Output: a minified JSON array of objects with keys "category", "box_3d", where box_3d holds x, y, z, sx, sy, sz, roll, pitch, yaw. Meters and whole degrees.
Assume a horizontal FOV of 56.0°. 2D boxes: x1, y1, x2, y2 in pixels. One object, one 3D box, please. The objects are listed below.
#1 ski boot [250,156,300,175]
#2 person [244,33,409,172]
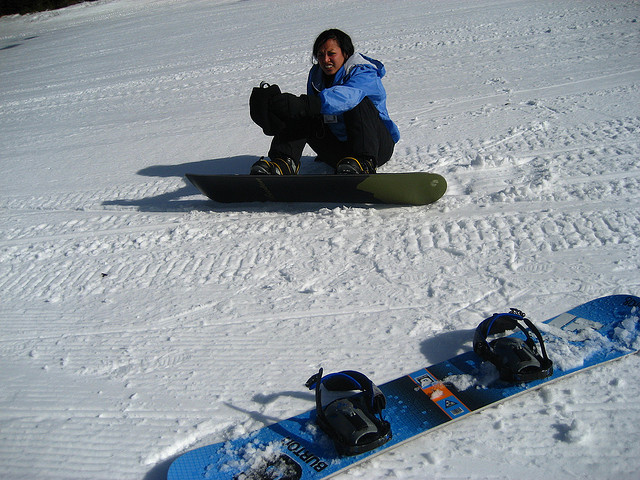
[{"category":"ski boot","box_3d":[-0.405,-0.654,5.366,0.597,0.124,0.204,0,26,-22]},{"category":"person","box_3d":[0.004,-1.177,5.428,1.352,1.028,1.826,6,8,26]}]
